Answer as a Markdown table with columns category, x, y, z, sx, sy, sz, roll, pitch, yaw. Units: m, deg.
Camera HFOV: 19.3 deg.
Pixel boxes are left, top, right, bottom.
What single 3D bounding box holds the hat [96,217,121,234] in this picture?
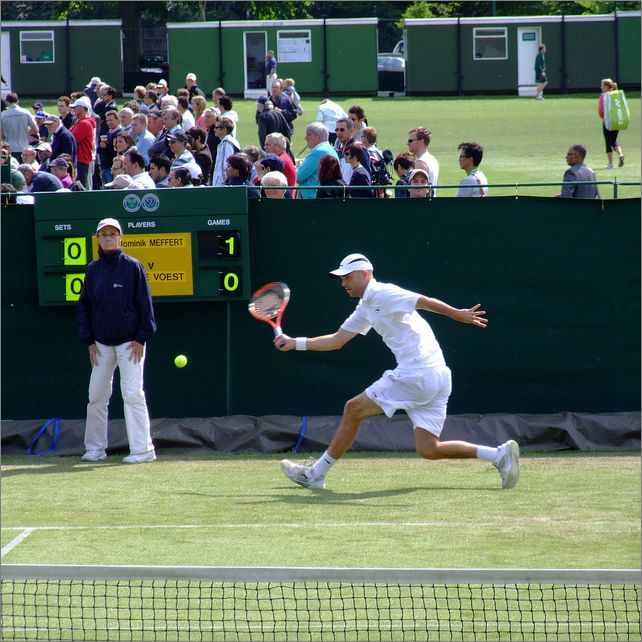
| category | x | y | z | sx | sy | sz | roll | pitch | yaw |
| --- | --- | --- | --- | --- | --- | --- | --- | --- | --- |
| hat | -2.315 | -1.038 | 20.525 | 0.253 | 0.174 | 0.354 | -2 | 8 | -10 |

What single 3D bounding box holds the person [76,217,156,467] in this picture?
| category | x | y | z | sx | sy | sz | roll | pitch | yaw |
| --- | --- | --- | --- | --- | --- | --- | --- | --- | --- |
| person | -2.243 | 0.207 | 20.586 | 0.844 | 2.660 | 0.380 | 0 | 7 | 1 |

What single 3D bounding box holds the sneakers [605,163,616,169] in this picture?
| category | x | y | z | sx | sy | sz | roll | pitch | yaw |
| --- | --- | --- | --- | --- | --- | --- | --- | --- | --- |
| sneakers | 4.612 | -2.511 | 30.200 | 0.181 | 0.088 | 0.067 | 2 | 4 | 32 |

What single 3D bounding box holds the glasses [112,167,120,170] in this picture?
| category | x | y | z | sx | sy | sz | roll | pitch | yaw |
| --- | --- | --- | --- | --- | --- | --- | --- | --- | --- |
| glasses | -2.557 | -1.910 | 23.502 | 0.089 | 0.029 | 0.091 | 0 | 2 | -14 |

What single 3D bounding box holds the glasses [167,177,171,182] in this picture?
| category | x | y | z | sx | sy | sz | roll | pitch | yaw |
| --- | --- | --- | --- | --- | --- | --- | --- | --- | --- |
| glasses | -1.756 | -1.643 | 21.805 | 0.026 | 0.059 | 0.036 | 0 | 8 | -25 |

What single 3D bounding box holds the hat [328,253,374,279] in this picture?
| category | x | y | z | sx | sy | sz | roll | pitch | yaw |
| --- | --- | --- | --- | --- | --- | --- | --- | --- | --- |
| hat | 0.300 | -0.586 | 19.425 | 0.360 | 0.206 | 0.240 | 1 | -5 | -8 |

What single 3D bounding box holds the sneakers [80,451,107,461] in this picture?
| category | x | y | z | sx | sy | sz | roll | pitch | yaw |
| --- | --- | --- | --- | --- | --- | --- | --- | --- | --- |
| sneakers | -2.518 | 1.466 | 20.864 | 0.245 | 0.116 | 0.106 | 8 | -8 | -33 |

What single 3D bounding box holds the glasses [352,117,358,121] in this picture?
| category | x | y | z | sx | sy | sz | roll | pitch | yaw |
| --- | --- | --- | --- | --- | --- | --- | --- | --- | --- |
| glasses | 0.419 | -2.612 | 24.251 | 0.037 | 0.054 | 0.013 | -34 | 15 | 23 |

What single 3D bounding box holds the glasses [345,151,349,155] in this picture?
| category | x | y | z | sx | sy | sz | roll | pitch | yaw |
| --- | --- | --- | --- | --- | --- | --- | --- | --- | --- |
| glasses | 0.303 | -1.976 | 22.108 | 0.030 | 0.054 | 0.046 | 1 | 3 | 4 |

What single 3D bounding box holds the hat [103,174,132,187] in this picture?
| category | x | y | z | sx | sy | sz | roll | pitch | yaw |
| --- | --- | --- | --- | --- | --- | --- | --- | --- | --- |
| hat | -2.341 | -1.608 | 21.690 | 0.252 | 0.110 | 0.172 | -6 | 1 | 16 |

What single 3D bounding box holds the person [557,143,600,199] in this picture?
| category | x | y | z | sx | sy | sz | roll | pitch | yaw |
| --- | --- | --- | --- | --- | --- | --- | --- | --- | --- |
| person | 3.102 | -1.818 | 22.598 | 0.434 | 0.577 | 1.634 | 1 | 8 | 8 |

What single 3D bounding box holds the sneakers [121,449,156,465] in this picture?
| category | x | y | z | sx | sy | sz | roll | pitch | yaw |
| --- | --- | --- | --- | --- | --- | --- | --- | --- | --- |
| sneakers | -1.997 | 1.472 | 20.689 | 0.365 | 0.185 | 0.134 | 2 | -3 | -35 |

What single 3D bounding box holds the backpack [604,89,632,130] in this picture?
| category | x | y | z | sx | sy | sz | roll | pitch | yaw |
| --- | --- | --- | --- | --- | --- | --- | --- | --- | --- |
| backpack | 4.615 | -3.306 | 29.507 | 0.390 | 0.626 | 1.051 | 1 | 8 | 8 |

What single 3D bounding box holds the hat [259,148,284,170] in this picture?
| category | x | y | z | sx | sy | sz | roll | pitch | yaw |
| --- | --- | --- | --- | --- | --- | --- | --- | --- | --- |
| hat | -0.589 | -1.907 | 22.597 | 0.283 | 0.218 | 0.576 | -1 | 8 | -1 |

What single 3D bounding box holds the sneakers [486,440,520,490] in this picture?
| category | x | y | z | sx | sy | sz | roll | pitch | yaw |
| --- | --- | --- | --- | --- | --- | --- | --- | --- | --- |
| sneakers | 1.889 | 1.435 | 19.167 | 0.242 | 0.570 | 0.186 | -3 | 25 | 9 |

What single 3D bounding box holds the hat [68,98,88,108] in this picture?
| category | x | y | z | sx | sy | sz | roll | pitch | yaw |
| --- | --- | --- | --- | --- | --- | --- | --- | --- | --- |
| hat | -3.482 | -3.147 | 27.078 | 0.267 | 0.111 | 0.176 | 3 | -1 | -15 |

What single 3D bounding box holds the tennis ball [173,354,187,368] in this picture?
| category | x | y | z | sx | sy | sz | roll | pitch | yaw |
| --- | --- | --- | --- | --- | --- | --- | --- | --- | --- |
| tennis ball | -1.595 | 0.440 | 21.420 | 0.157 | 0.144 | 0.128 | -1 | 7 | -7 |

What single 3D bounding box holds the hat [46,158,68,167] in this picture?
| category | x | y | z | sx | sy | sz | roll | pitch | yaw |
| --- | --- | --- | --- | --- | --- | --- | --- | --- | --- |
| hat | -3.344 | -2.022 | 23.920 | 0.178 | 0.101 | 0.132 | 5 | -4 | -3 |

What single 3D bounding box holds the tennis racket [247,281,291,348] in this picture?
| category | x | y | z | sx | sy | sz | roll | pitch | yaw |
| --- | --- | --- | --- | --- | --- | --- | --- | --- | --- |
| tennis racket | -0.590 | -0.108 | 20.655 | 0.361 | 0.969 | 0.108 | -23 | -24 | 15 |
